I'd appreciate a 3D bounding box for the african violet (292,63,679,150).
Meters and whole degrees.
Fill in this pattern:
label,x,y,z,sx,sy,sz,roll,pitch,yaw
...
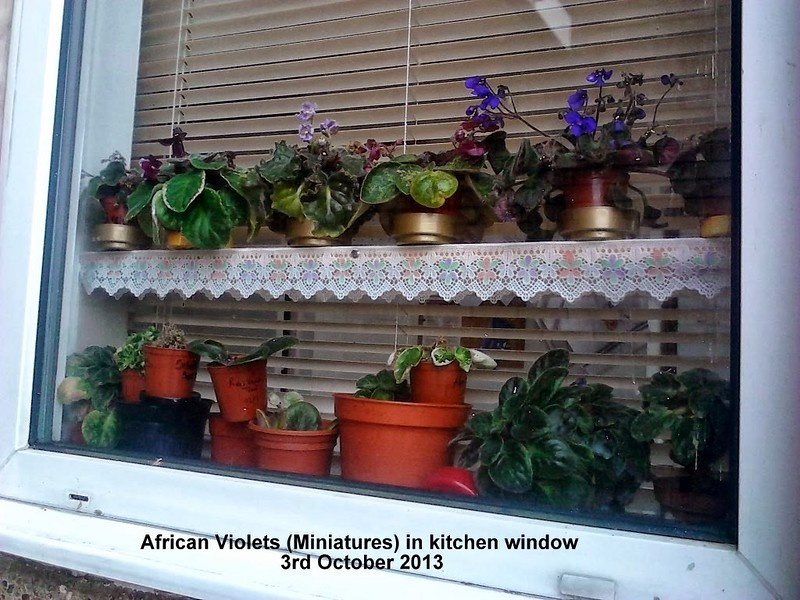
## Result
label,x,y,z,sx,sy,sz,roll,pitch,yaw
african violet,0.236,-0.389,1.297,0.559,0.152,0.148,6,22,16
